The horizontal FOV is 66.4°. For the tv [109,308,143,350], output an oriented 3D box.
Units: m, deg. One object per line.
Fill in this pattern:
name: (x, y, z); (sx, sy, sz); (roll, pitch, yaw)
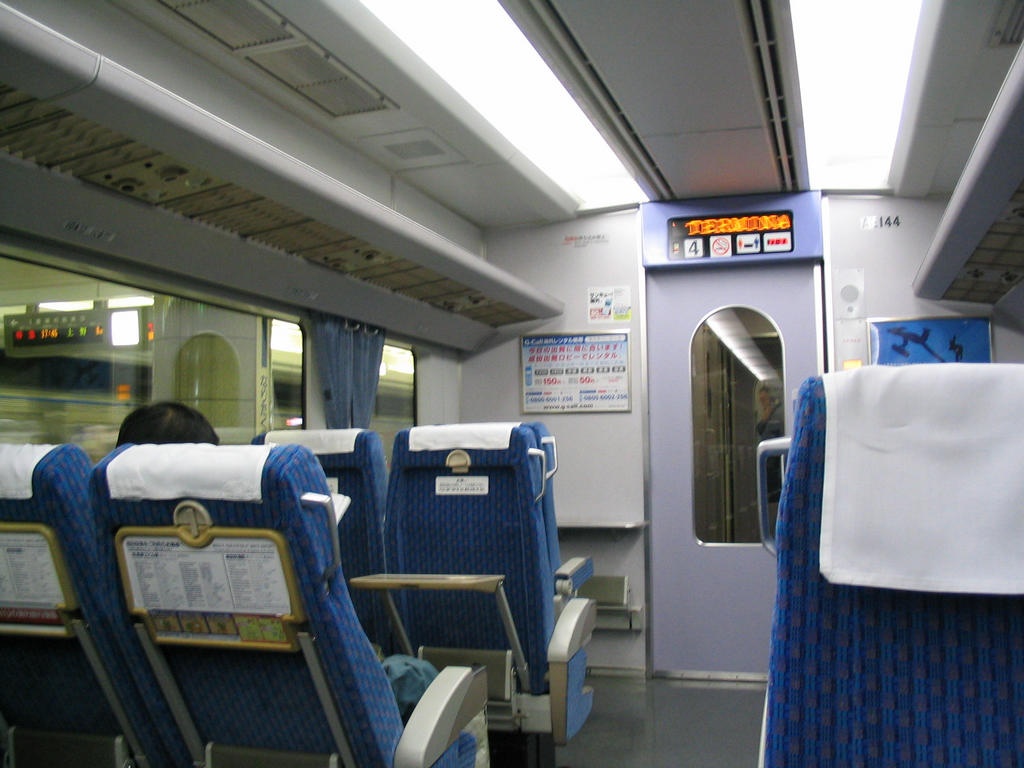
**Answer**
tv: (-1.949, -0.280, 3.977); (0.037, 0.162, 0.166); (1, -1, 18)
